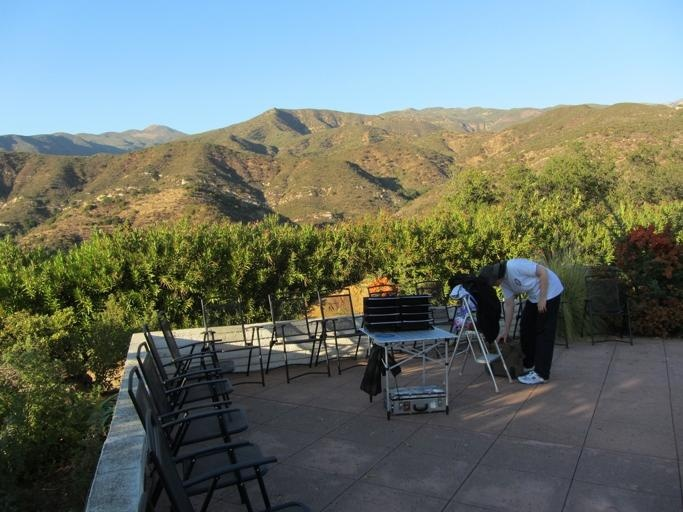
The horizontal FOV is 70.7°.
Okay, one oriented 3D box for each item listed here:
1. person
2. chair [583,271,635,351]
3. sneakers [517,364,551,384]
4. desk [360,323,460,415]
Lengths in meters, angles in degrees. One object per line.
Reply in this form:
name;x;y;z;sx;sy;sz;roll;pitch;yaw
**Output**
person;2.611;0.883;6.624;0.820;1.704;0.532;-1;6;12
chair;4.933;0.984;9.027;0.953;1.227;1.040;-4;-7;6
sneakers;2.654;1.666;6.687;0.421;0.207;0.164;3;-6;8
desk;0.991;1.481;6.312;1.111;0.997;1.128;0;-7;-7
